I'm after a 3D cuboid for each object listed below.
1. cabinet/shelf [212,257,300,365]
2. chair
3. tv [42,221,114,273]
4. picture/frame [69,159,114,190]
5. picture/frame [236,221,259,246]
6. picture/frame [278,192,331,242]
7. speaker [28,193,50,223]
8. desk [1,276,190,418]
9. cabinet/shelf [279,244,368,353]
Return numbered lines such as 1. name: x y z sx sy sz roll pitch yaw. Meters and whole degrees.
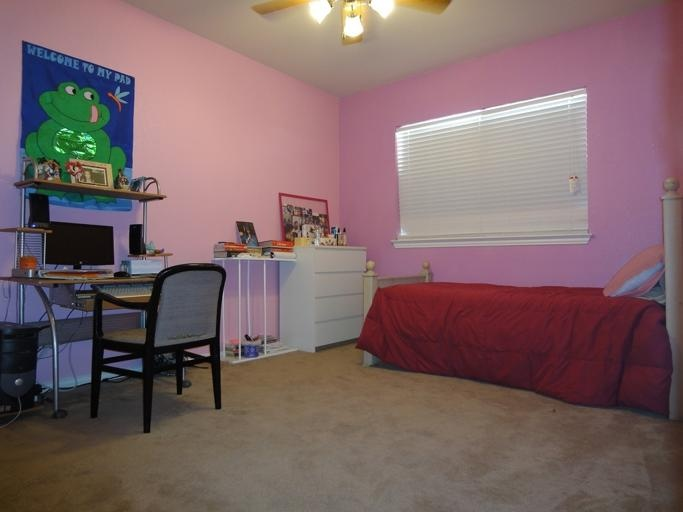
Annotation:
1. cabinet/shelf: -0.897 0.568 5.286 0.322 1.006 0.977 -1 -1 35
2. chair: -1.322 0.568 3.741 0.834 1.147 0.926 2 3 -1
3. tv: -2.182 -0.074 4.152 0.112 0.293 0.388 -7 -8 40
4. picture/frame: -2.079 -0.664 4.186 0.027 0.200 0.258 -18 -15 38
5. picture/frame: -1.015 -0.209 5.543 0.228 0.297 0.295 -4 -4 28
6. picture/frame: -0.482 -0.465 6.125 0.021 0.460 0.603 -13 -11 37
7. speaker: -2.398 -0.379 4.005 0.141 0.229 0.204 -6 12 -32
8. desk: -2.002 0.839 4.163 0.864 1.166 1.620 -1 -1 31
9. cabinet/shelf: -0.253 0.473 5.569 0.515 1.118 1.059 -1 1 37
